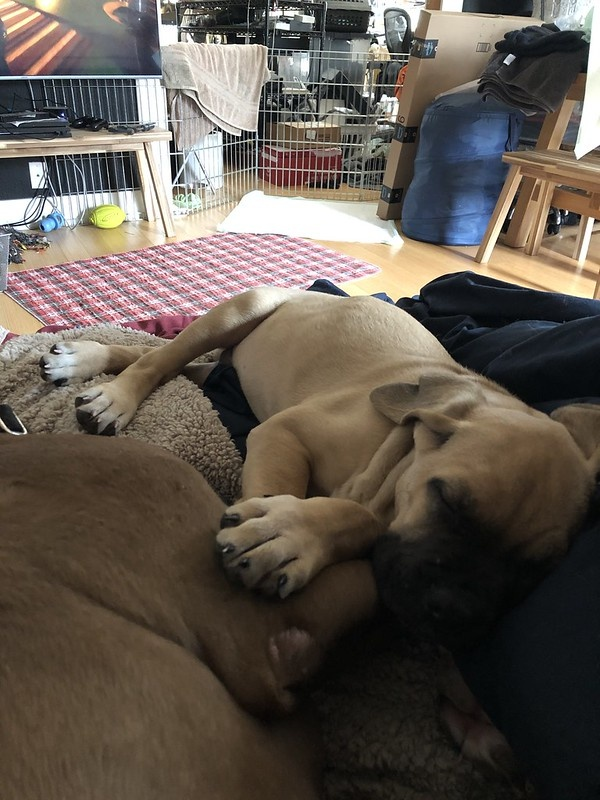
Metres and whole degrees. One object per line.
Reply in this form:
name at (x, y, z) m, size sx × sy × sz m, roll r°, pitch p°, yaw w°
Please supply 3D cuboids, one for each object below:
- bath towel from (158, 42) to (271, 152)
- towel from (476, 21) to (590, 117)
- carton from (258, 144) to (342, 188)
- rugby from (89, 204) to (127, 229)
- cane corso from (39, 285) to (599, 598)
bath towel at (-0.471, -2.007, 4.043) m, size 0.180 × 0.590 × 0.917 m, roll 30°, pitch 38°, yaw 32°
towel at (1.275, -1.801, 3.225) m, size 0.494 × 0.219 × 0.603 m, roll 21°, pitch 63°, yaw 32°
carton at (0.002, -1.917, 5.004) m, size 0.767 × 0.331 × 0.498 m, roll -3°, pitch 24°, yaw -14°
rugby at (-1.152, -1.095, 3.665) m, size 0.189 × 0.112 × 0.140 m, roll -10°, pitch 77°, yaw -24°
cane corso at (0.078, 0.017, 0.779) m, size 0.527 × 0.163 × 0.510 m, roll 7°, pitch 17°, yaw -42°
